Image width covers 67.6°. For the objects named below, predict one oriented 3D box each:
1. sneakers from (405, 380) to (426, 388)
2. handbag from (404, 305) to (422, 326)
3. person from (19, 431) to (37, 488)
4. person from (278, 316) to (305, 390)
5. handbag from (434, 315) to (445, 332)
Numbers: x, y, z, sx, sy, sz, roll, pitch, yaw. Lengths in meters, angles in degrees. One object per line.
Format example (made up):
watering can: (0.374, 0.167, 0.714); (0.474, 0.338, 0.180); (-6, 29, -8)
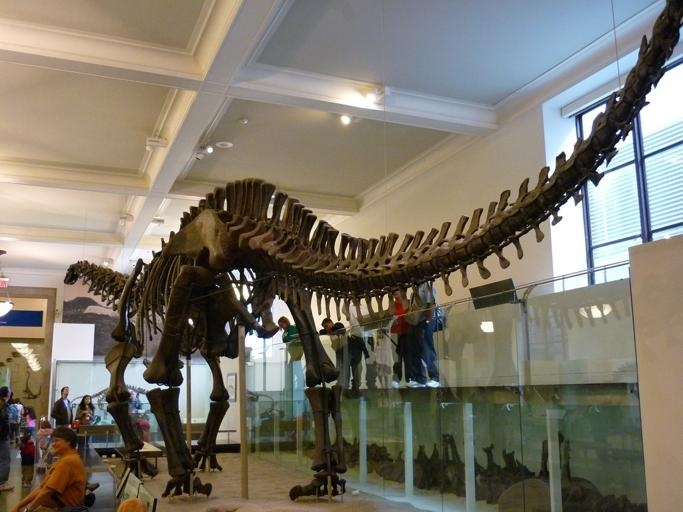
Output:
sneakers: (0.680, 1.163, 4.658); (0.056, 0.070, 0.160); (4, -5, -42)
handbag: (0.626, 0.542, 4.459); (0.096, 0.117, 0.224); (2, -14, -18)
person: (-5.257, 3.459, 8.706); (0.294, 0.870, 0.314); (0, 0, 41)
person: (-0.678, 1.281, 6.931); (0.271, 1.094, 1.266); (0, -14, -9)
handbag: (0.838, 0.573, 4.411); (0.116, 0.144, 0.054); (-9, -15, 27)
